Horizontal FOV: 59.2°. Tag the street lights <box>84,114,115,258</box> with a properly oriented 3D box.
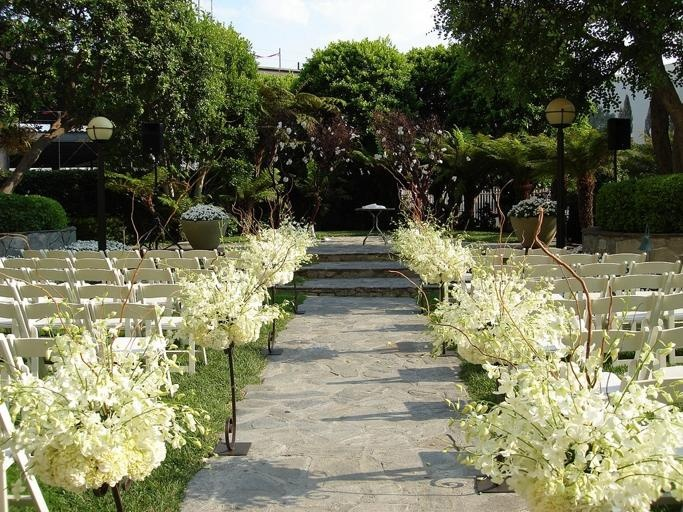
[{"bbox_3d":[-4.679,-1.331,11.632,0.651,2.611,0.686,5,7,29],"label":"street lights"}]

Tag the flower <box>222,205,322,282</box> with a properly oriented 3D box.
[{"bbox_3d":[-0.769,-0.054,6.989,1.094,0.843,1.097,-2,11,-2],"label":"flower"}]

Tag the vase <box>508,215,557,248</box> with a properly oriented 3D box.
[{"bbox_3d":[4.492,-0.627,13.998,1.063,0.777,1.094,0,3,27],"label":"vase"}]

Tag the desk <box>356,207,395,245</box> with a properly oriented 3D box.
[{"bbox_3d":[1.004,-0.930,18.020,1.108,1.148,1.063,-2,9,1],"label":"desk"}]

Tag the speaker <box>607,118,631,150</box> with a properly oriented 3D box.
[{"bbox_3d":[5.568,-2.475,11.816,0.379,0.763,0.457,7,48,34],"label":"speaker"}]

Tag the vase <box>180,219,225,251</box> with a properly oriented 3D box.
[{"bbox_3d":[-3.306,-0.511,14.136,1.110,0.757,1.094,0,-1,-25],"label":"vase"}]
